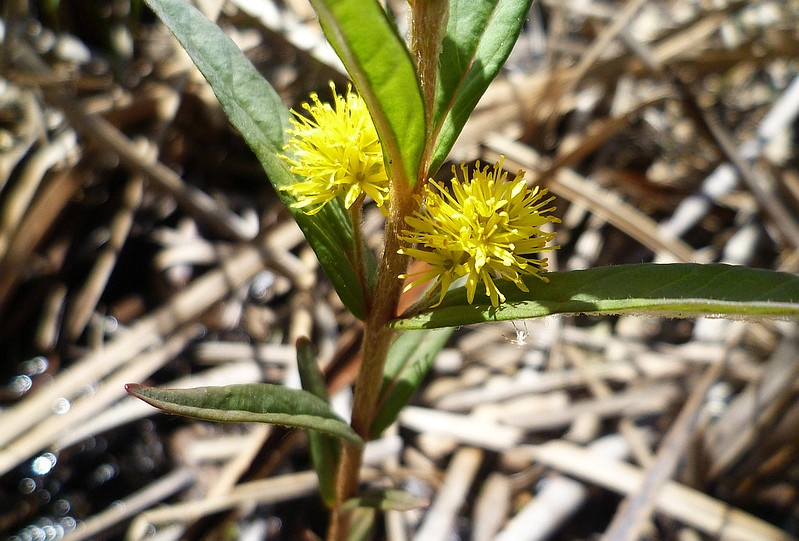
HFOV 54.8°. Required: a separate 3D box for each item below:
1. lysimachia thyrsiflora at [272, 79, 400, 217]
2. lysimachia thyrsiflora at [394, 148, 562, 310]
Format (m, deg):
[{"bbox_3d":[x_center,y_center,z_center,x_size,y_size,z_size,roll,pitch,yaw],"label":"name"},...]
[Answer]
[{"bbox_3d":[-0.129,-0.293,2.197,0.239,0.262,0.266,-31,69,17],"label":"lysimachia thyrsiflora"},{"bbox_3d":[0.215,-0.096,2.248,0.469,0.276,0.408,17,85,0],"label":"lysimachia thyrsiflora"}]
